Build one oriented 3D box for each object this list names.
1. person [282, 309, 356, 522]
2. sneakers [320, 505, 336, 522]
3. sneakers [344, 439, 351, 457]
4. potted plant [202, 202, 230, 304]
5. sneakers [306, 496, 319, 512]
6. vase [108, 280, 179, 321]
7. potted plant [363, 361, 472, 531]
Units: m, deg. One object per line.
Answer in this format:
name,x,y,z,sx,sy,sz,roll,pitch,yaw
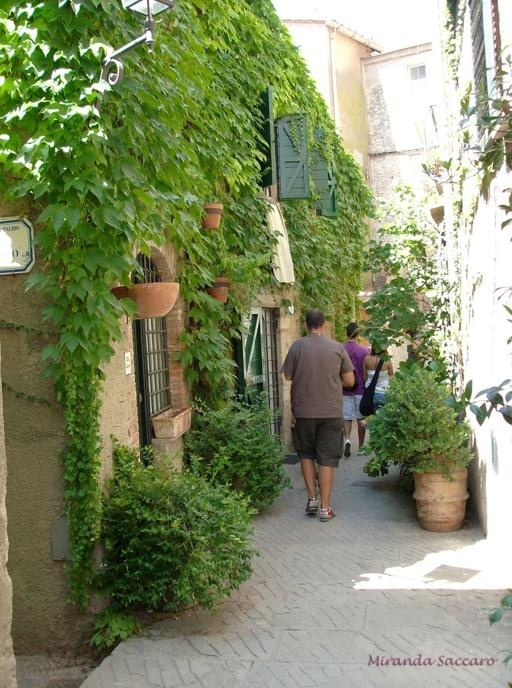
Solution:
person,0.606,0.653,5.842,0.611,1.973,0.361,-4,-3,34
sneakers,0.654,1.568,5.691,0.075,0.075,0.189,1,5,14
sneakers,1.301,1.497,8.830,0.099,0.245,0.100,1,12,8
potted plant,-0.412,-0.933,6.400,0.236,1.004,0.601,-3,-2,-2
sneakers,0.537,1.540,5.904,0.140,0.140,0.373,-1,-14,4
vase,-0.715,-0.282,3.987,0.419,0.216,0.188,-2,-2,-11
potted plant,1.565,0.863,5.462,1.165,1.389,0.916,1,4,38
